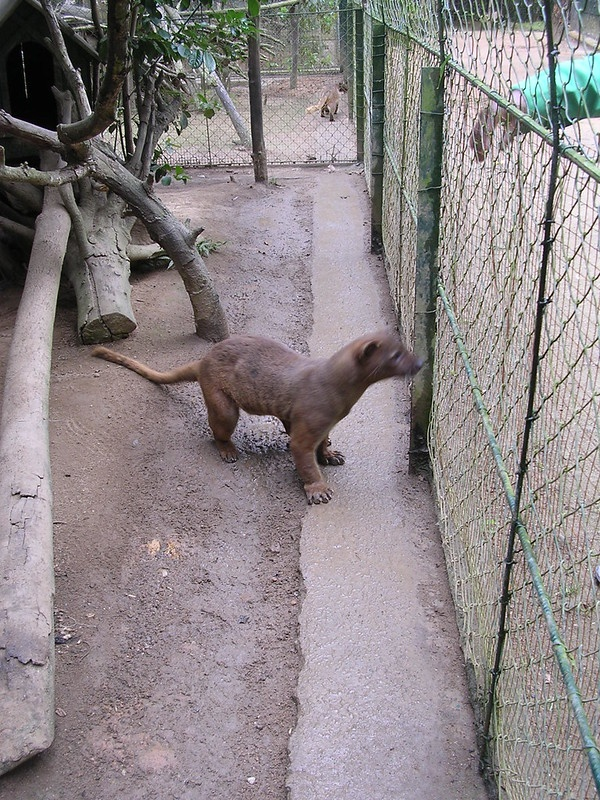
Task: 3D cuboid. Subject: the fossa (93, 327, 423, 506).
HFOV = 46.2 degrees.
[{"bbox_3d":[-0.365,-0.118,3.933,1.948,0.908,0.463,18,37,22],"label":"fossa"}]
